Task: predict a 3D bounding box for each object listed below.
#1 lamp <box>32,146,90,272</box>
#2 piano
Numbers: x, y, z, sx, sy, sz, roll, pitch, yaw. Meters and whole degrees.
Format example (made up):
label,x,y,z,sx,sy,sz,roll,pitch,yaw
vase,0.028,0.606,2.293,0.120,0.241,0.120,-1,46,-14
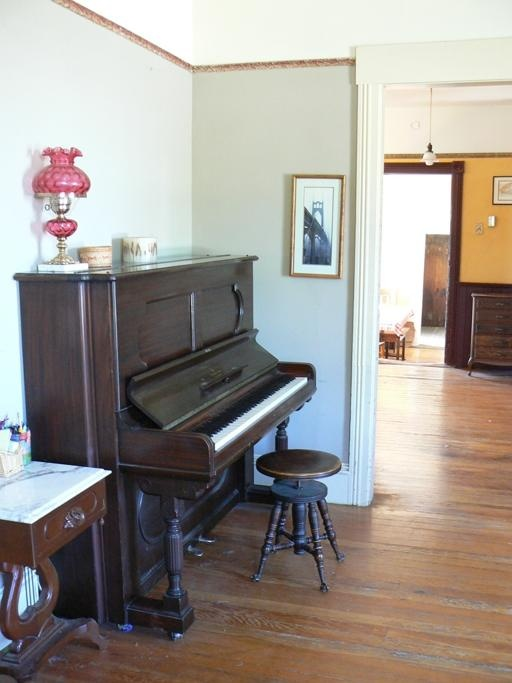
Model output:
label,x,y,z,sx,sy,sz,roll,pitch,yaw
lamp,-0.641,-0.436,1.938,0.180,0.405,0.136,-2,7,-17
piano,-0.348,0.418,2.205,0.643,1.230,1.362,1,12,13
